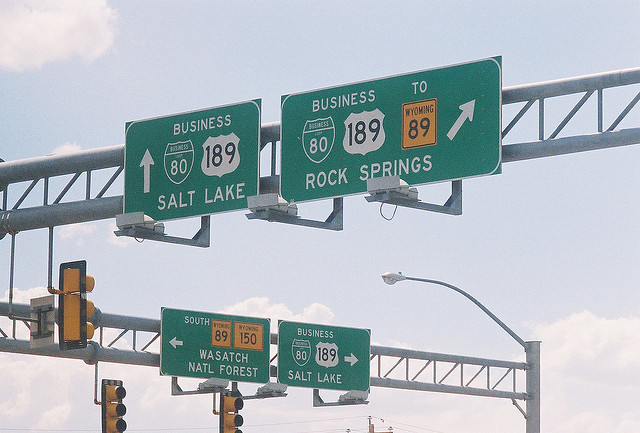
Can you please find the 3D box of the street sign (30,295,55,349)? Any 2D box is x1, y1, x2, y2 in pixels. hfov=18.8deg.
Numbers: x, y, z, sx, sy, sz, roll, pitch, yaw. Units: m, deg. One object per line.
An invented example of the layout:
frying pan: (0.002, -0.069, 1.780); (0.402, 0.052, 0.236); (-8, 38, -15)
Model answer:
street sign: (-7.002, 2.478, 46.889); (0.424, 1.212, 1.238); (5, -8, -39)

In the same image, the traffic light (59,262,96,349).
traffic light: (-5.807, 2.043, 45.371); (0.897, 1.957, 0.692); (-2, -3, 37)

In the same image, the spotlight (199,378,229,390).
spotlight: (-3.446, 5.265, 62.300); (1.076, 0.487, 0.372); (17, -25, -41)

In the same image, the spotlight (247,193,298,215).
spotlight: (-1.133, -0.263, 46.513); (0.851, 0.346, 0.861); (-5, -12, 37)
